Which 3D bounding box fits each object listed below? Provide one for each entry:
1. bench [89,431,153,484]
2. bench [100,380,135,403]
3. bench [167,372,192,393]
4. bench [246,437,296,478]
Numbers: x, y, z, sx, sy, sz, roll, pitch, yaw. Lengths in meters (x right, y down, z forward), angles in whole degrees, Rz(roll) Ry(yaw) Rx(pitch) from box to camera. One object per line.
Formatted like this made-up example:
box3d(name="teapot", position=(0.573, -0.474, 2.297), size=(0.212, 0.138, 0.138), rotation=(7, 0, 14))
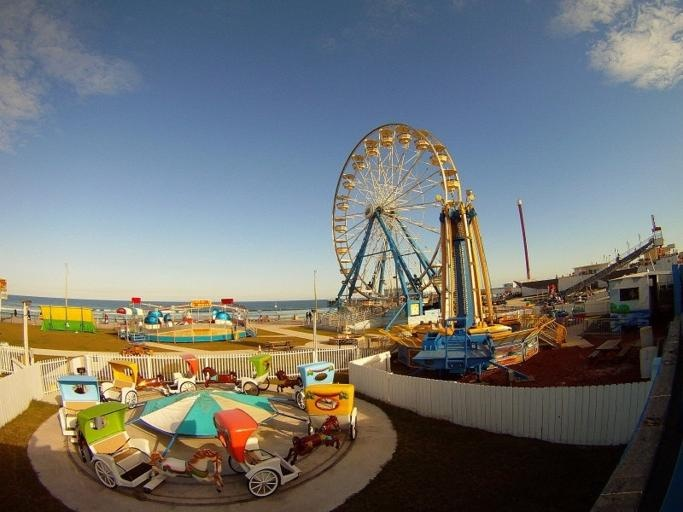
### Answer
box3d(name="bench", position=(-5.897, 5.525, 10.815), size=(1.526, 0.878, 1.094), rotation=(-4, -8, 31))
box3d(name="bench", position=(-8.784, 5.530, 16.135), size=(1.313, 0.802, 0.956), rotation=(-3, -18, 13))
box3d(name="bench", position=(-6.851, 5.373, 17.120), size=(1.022, 1.083, 1.115), rotation=(3, 1, -24))
box3d(name="bench", position=(-1.951, 5.472, 10.650), size=(1.142, 0.738, 1.189), rotation=(4, -14, -25))
